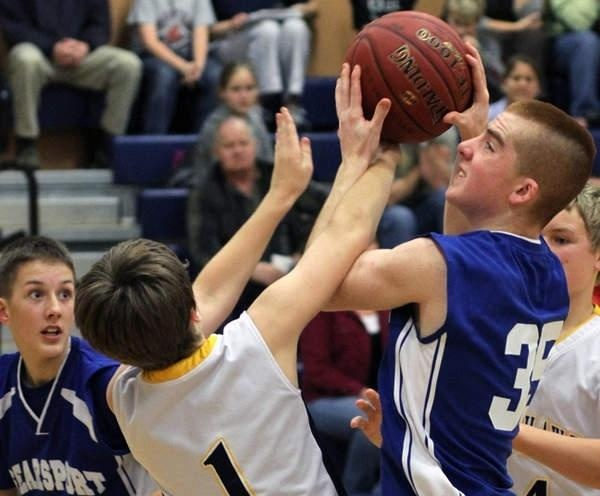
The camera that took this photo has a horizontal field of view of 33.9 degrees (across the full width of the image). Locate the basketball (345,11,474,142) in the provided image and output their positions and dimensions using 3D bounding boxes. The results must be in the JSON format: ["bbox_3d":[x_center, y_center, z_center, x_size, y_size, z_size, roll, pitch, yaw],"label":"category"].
[{"bbox_3d":[0.336,-0.475,2.944,0.308,0.402,0.337,-8,31,4],"label":"basketball"}]
